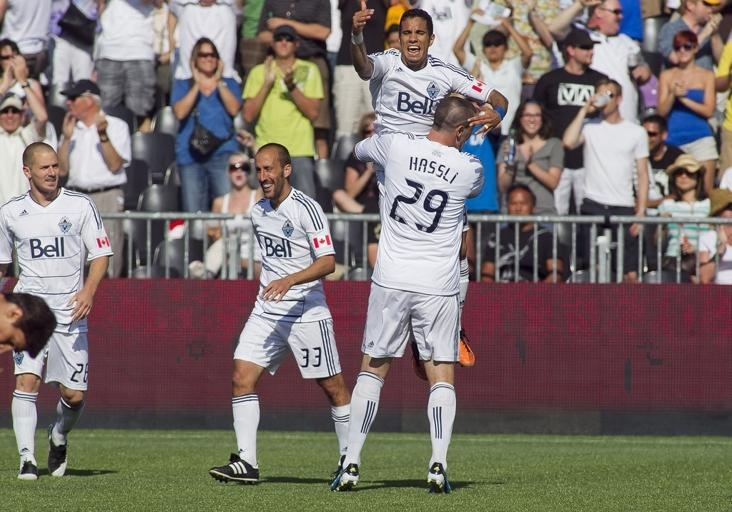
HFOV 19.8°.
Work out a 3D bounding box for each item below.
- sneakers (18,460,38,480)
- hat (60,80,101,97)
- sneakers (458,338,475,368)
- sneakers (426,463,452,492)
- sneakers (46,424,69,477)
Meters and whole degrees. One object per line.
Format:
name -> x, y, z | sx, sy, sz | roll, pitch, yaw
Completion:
sneakers -> -3.519, 2.198, 21.780 | 0.204, 0.185, 0.236 | 2, 2, -12
hat -> -3.533, -2.040, 25.836 | 0.412, 0.208, 0.267 | -3, 6, -21
sneakers -> 1.037, 1.000, 21.694 | 0.174, 0.314, 0.110 | -4, -5, -8
sneakers -> 0.750, 2.207, 21.170 | 0.238, 0.312, 0.270 | 3, 2, 1
sneakers -> -3.273, 2.023, 22.021 | 0.168, 0.529, 0.225 | -4, 2, -38
